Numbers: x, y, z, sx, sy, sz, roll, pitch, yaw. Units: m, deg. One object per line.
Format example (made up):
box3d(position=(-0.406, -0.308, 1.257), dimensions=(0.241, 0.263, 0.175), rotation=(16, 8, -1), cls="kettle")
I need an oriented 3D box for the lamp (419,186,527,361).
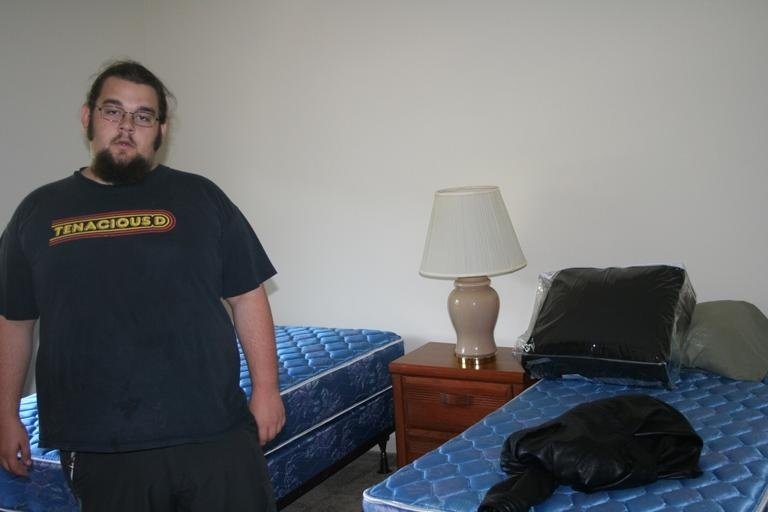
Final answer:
box3d(position=(0.446, 0.085, 2.952), dimensions=(0.518, 0.859, 0.254), rotation=(-1, 7, 11), cls="lamp")
